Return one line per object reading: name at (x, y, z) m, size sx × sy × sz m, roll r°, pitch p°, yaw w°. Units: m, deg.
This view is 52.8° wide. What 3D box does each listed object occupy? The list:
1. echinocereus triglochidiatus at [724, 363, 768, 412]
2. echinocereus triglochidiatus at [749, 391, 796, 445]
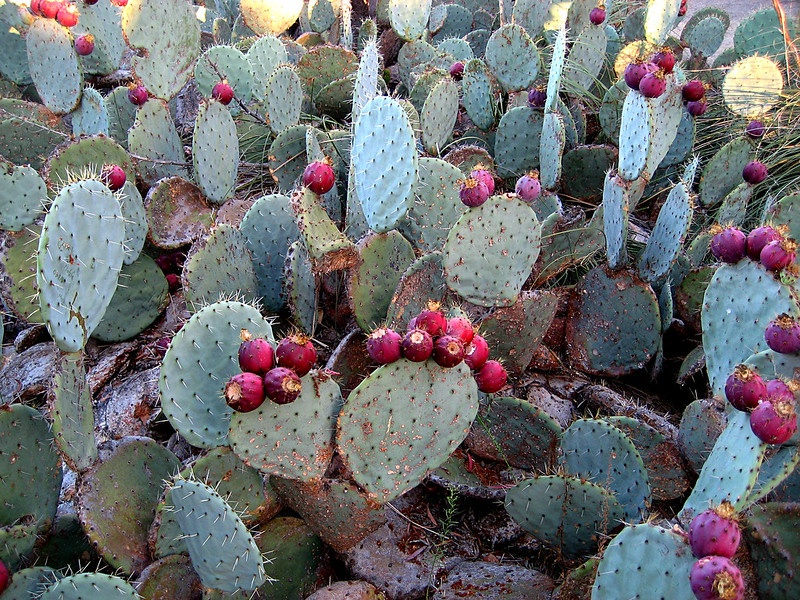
echinocereus triglochidiatus at (1.278, 0.332, 2.984) m, size 0.132 × 0.194 × 0.170 m, roll -3°, pitch -17°, yaw 9°
echinocereus triglochidiatus at (1.315, 0.415, 2.850) m, size 0.138 × 0.174 × 0.138 m, roll -7°, pitch -12°, yaw 17°
